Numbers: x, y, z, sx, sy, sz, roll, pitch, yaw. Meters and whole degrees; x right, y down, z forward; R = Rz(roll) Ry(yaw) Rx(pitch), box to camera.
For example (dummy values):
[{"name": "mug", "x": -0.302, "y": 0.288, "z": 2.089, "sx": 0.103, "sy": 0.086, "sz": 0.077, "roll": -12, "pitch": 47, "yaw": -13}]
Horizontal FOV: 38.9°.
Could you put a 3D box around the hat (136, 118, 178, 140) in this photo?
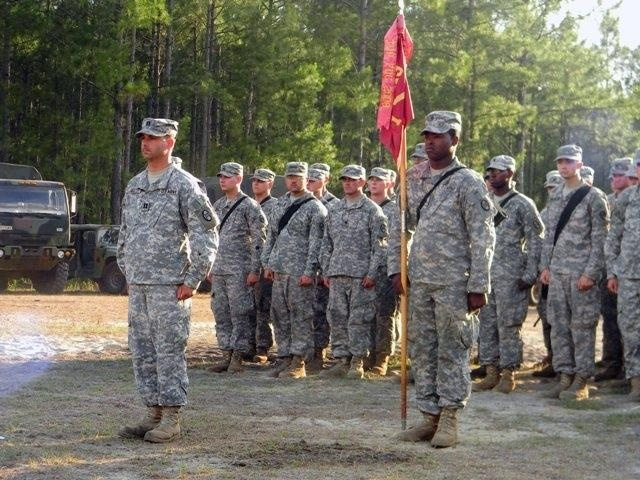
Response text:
[{"name": "hat", "x": -1.705, "y": -1.190, "z": 9.666, "sx": 0.227, "sy": 0.115, "sz": 0.319, "roll": 0, "pitch": 1, "yaw": 37}]

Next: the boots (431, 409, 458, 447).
[{"name": "boots", "x": 1.320, "y": 1.975, "z": 9.581, "sx": 0.249, "sy": 0.392, "sz": 0.360, "roll": 2, "pitch": -4, "yaw": 15}]

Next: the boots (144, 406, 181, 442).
[{"name": "boots", "x": -1.638, "y": 1.925, "z": 9.484, "sx": 0.374, "sy": 0.354, "sz": 0.240, "roll": 4, "pitch": -4, "yaw": -11}]

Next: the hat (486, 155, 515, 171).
[{"name": "hat", "x": 2.467, "y": -1.052, "z": 12.155, "sx": 0.215, "sy": 0.116, "sz": 0.315, "roll": 0, "pitch": -1, "yaw": 34}]

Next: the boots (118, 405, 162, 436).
[{"name": "boots", "x": -1.975, "y": 1.936, "z": 9.565, "sx": 0.544, "sy": 0.358, "sz": 0.203, "roll": 6, "pitch": -6, "yaw": -19}]

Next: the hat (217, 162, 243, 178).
[{"name": "hat", "x": -1.289, "y": -1.009, "z": 13.036, "sx": 0.334, "sy": 0.170, "sz": 0.246, "roll": 4, "pitch": -5, "yaw": -24}]

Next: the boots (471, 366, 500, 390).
[{"name": "boots", "x": 2.233, "y": 1.851, "z": 12.029, "sx": 0.504, "sy": 0.398, "sz": 0.196, "roll": 1, "pitch": -5, "yaw": 7}]

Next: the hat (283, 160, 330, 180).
[{"name": "hat", "x": -0.189, "y": -1.020, "z": 13.275, "sx": 0.470, "sy": 0.142, "sz": 0.326, "roll": 1, "pitch": -2, "yaw": -17}]

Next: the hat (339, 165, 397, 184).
[{"name": "hat", "x": 0.638, "y": -0.963, "z": 12.981, "sx": 0.622, "sy": 0.185, "sz": 0.409, "roll": 3, "pitch": -3, "yaw": -44}]

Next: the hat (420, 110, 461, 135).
[{"name": "hat", "x": 1.335, "y": -1.286, "z": 9.706, "sx": 0.336, "sy": 0.171, "sz": 0.255, "roll": 3, "pitch": -5, "yaw": -26}]

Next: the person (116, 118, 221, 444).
[{"name": "person", "x": -1.645, "y": 0.396, "z": 9.619, "sx": 1.063, "sy": 3.414, "sz": 0.463, "roll": 3, "pitch": -4, "yaw": -1}]
